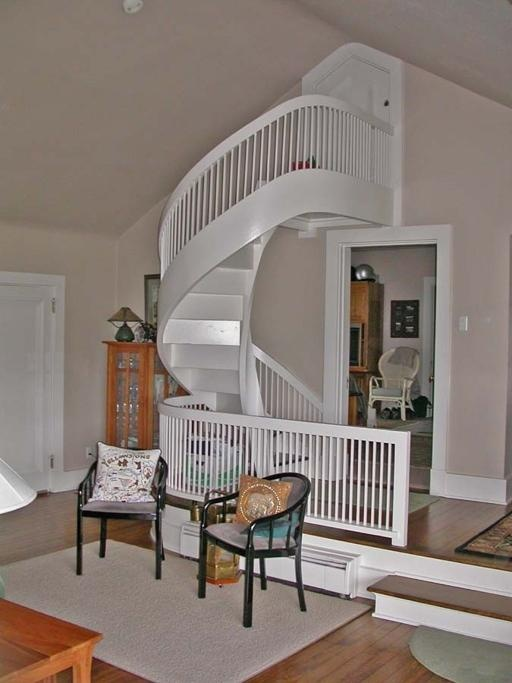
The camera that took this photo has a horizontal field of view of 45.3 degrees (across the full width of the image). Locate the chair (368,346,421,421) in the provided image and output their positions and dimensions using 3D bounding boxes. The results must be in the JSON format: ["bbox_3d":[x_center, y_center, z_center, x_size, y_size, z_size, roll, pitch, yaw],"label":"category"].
[{"bbox_3d":[1.856,0.554,8.257,0.555,0.962,0.640,1,-2,34],"label":"chair"}]

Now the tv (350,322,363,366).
[{"bbox_3d":[1.451,0.055,8.789,0.191,0.609,0.209,0,-2,10],"label":"tv"}]

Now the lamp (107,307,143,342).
[{"bbox_3d":[-1.243,-0.158,5.844,0.416,0.398,0.410,2,-7,-10],"label":"lamp"}]

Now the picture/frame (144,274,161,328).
[{"bbox_3d":[-1.106,-0.435,6.458,0.079,0.566,0.292,2,-3,-33],"label":"picture/frame"}]

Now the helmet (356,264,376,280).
[{"bbox_3d":[1.583,-0.993,8.859,0.299,0.246,0.260,0,-2,6],"label":"helmet"}]

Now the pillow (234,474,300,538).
[{"bbox_3d":[0.030,0.908,3.404,0.088,0.278,0.289,14,-13,-42],"label":"pillow"}]
